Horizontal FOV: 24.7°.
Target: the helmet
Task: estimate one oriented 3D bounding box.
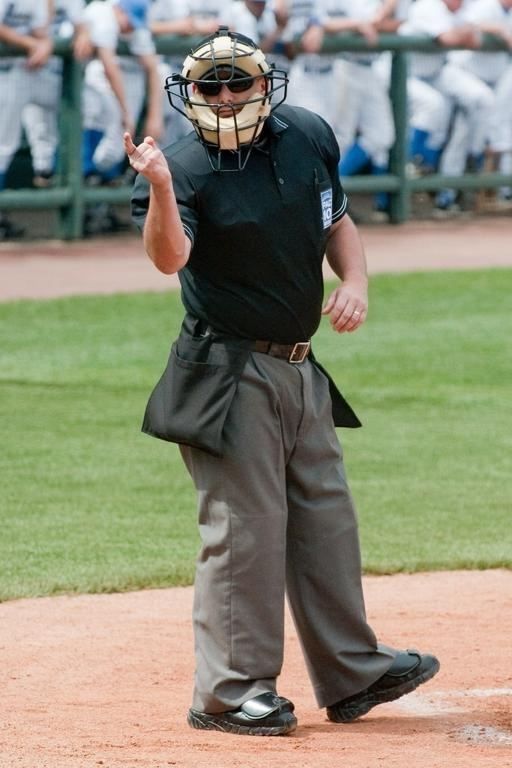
[{"bbox_3d":[-0.075,-0.666,2.737,0.268,0.342,0.267,1,9,-5],"label":"helmet"}]

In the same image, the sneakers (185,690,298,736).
[{"bbox_3d":[-0.030,0.777,2.776,0.251,0.089,0.091,-4,-2,26],"label":"sneakers"}]

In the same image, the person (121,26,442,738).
[{"bbox_3d":[0.008,0.011,2.765,0.812,1.683,0.432,-2,11,-25],"label":"person"}]

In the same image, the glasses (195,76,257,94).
[{"bbox_3d":[-0.072,-0.681,2.661,0.133,0.041,0.057,1,8,-3],"label":"glasses"}]
